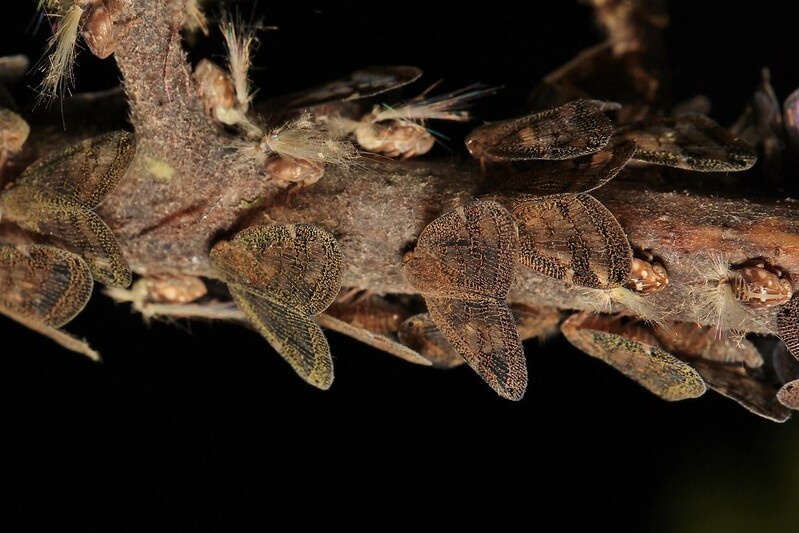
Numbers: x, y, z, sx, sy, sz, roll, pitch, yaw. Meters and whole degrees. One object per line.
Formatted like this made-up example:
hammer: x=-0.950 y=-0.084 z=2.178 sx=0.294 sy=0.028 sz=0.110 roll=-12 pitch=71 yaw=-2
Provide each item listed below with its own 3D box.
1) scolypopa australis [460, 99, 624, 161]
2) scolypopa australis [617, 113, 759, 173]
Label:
scolypopa australis: x=0.570 y=-0.534 z=3.717 sx=0.467 sy=0.134 sz=0.290 roll=-1 pitch=35 yaw=15
scolypopa australis: x=1.187 y=-0.509 z=3.863 sx=0.469 sy=0.082 sz=0.273 roll=3 pitch=47 yaw=-8
